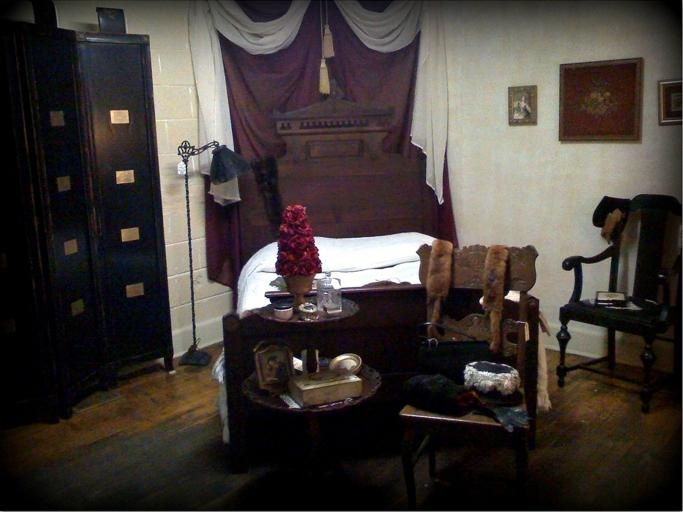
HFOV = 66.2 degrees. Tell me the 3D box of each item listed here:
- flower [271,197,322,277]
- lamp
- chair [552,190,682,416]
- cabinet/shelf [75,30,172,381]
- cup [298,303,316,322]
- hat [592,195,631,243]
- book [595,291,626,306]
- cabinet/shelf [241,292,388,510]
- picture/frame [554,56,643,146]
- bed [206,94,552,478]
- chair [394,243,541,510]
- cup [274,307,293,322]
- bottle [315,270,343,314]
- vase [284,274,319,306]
[{"bbox_3d":[-0.234,-0.092,2.684,0.262,0.349,0.254,-15,22,-41],"label":"flower"},{"bbox_3d":[-1.142,-0.047,4.350,0.466,1.789,0.736,5,16,32],"label":"lamp"},{"bbox_3d":[1.935,0.275,3.693,0.712,1.365,0.667,5,15,31],"label":"chair"},{"bbox_3d":[-1.562,-0.361,3.991,0.615,2.549,0.365,-4,0,10],"label":"cabinet/shelf"},{"bbox_3d":[-0.175,0.278,2.614,0.075,0.063,0.079,1,18,0],"label":"cup"},{"bbox_3d":[1.983,-0.286,3.847,0.215,0.330,0.128,16,26,40],"label":"hat"},{"bbox_3d":[1.895,0.301,3.700,0.189,0.066,0.157,3,14,25],"label":"book"},{"bbox_3d":[-0.150,0.775,2.753,0.892,1.035,0.569,-7,14,-14],"label":"cabinet/shelf"},{"bbox_3d":[1.912,-1.158,3.855,0.721,0.749,0.057,5,8,42],"label":"picture/frame"},{"bbox_3d":[-0.059,-0.015,3.936,1.976,1.946,2.387,-1,25,3],"label":"bed"},{"bbox_3d":[0.696,0.586,2.833,0.667,1.260,1.101,2,14,21],"label":"chair"},{"bbox_3d":[-0.292,0.292,2.614,0.065,0.045,0.065,0,5,0],"label":"cup"},{"bbox_3d":[-0.067,0.180,2.716,0.132,0.179,0.234,-4,13,-2],"label":"bottle"},{"bbox_3d":[-0.207,0.171,2.727,0.163,0.167,0.149,-1,3,-3],"label":"vase"}]
